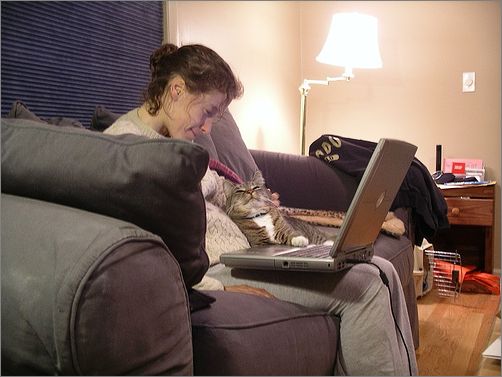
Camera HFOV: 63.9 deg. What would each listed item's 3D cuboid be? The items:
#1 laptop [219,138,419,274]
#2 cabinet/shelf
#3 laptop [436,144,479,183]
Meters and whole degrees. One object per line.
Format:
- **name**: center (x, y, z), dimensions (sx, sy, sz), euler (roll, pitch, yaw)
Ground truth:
- **laptop**: center (0.243, 0.049, 1.311), dimensions (0.478, 0.380, 0.481), euler (1, -1, 30)
- **cabinet/shelf**: center (1.623, 0.282, 3.000), dimensions (0.442, 0.684, 0.448), euler (3, 9, 21)
- **laptop**: center (1.593, -0.130, 3.090), dimensions (0.328, 0.274, 0.306), euler (-2, -7, 16)
